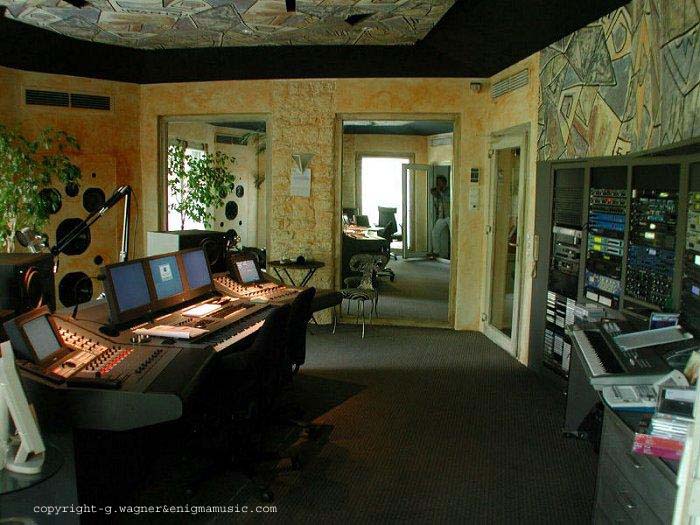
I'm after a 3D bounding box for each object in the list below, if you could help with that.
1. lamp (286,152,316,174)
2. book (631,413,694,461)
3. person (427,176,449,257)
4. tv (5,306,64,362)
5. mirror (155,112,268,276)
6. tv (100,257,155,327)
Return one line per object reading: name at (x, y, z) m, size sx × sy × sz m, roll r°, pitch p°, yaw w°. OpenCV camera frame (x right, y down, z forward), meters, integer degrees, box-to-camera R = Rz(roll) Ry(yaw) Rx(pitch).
lamp at (-0.618, -1.277, 6.775) m, size 0.274 × 0.219 × 0.242 m, roll -2°, pitch 3°, yaw -17°
book at (1.425, 0.831, 2.367) m, size 0.183 × 0.267 × 0.190 m, roll 11°, pitch 14°, yaw 42°
person at (2.210, -1.055, 12.694) m, size 0.451 × 2.048 × 0.698 m, roll 3°, pitch 11°, yaw 8°
tv at (-1.762, 0.408, 2.862) m, size 0.139 × 0.267 × 0.271 m, roll -13°, pitch 7°, yaw 3°
mirror at (-2.134, -1.163, 7.803) m, size 0.127 × 3.200 × 2.816 m, roll 0°, pitch 1°, yaw 27°
tv at (-1.583, 0.229, 3.697) m, size 0.162 × 0.425 × 0.428 m, roll -16°, pitch 0°, yaw 23°
